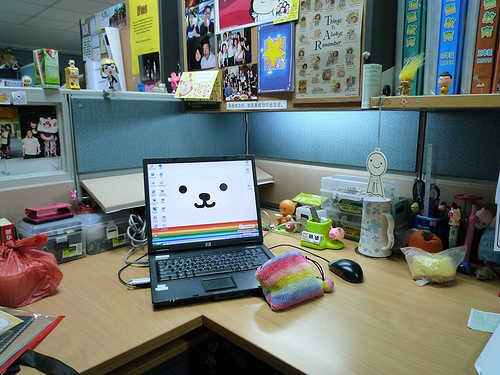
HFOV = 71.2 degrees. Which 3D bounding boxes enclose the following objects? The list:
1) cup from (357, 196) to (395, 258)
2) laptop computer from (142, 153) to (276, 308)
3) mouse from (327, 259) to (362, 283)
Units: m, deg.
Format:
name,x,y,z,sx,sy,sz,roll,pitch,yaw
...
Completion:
name,x,y,z,sx,sy,sz,roll,pitch,yaw
cup,0.447,0.142,1.178,0.115,0.194,0.185,-4,13,-5
laptop computer,-0.117,0.101,1.085,0.456,0.308,0.494,1,15,-7
mouse,0.296,0.245,1.049,0.047,0.028,0.082,-4,16,-27
